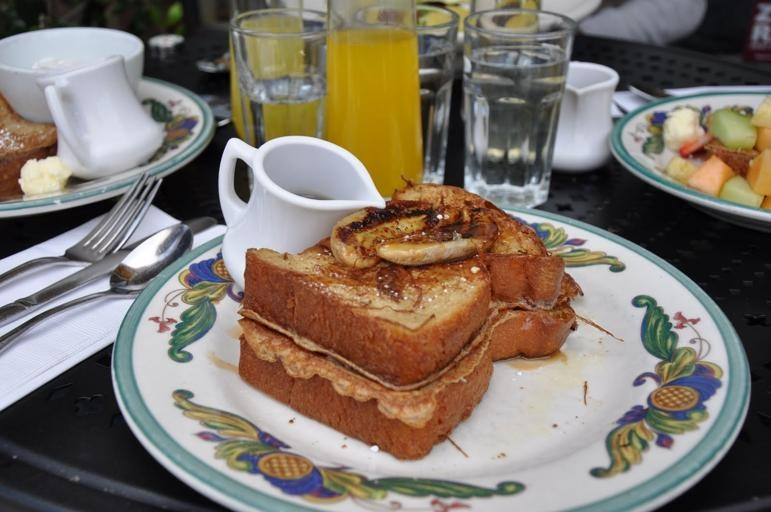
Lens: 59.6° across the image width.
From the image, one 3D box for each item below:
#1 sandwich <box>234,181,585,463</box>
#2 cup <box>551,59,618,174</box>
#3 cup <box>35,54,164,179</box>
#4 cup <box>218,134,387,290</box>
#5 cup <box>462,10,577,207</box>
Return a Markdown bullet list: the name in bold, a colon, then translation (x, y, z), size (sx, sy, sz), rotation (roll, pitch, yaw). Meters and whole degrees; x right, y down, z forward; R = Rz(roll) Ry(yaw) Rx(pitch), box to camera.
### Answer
- **sandwich**: translation (-0.029, 0.035, 1.267), size (0.622, 0.404, 0.450), rotation (-15, 20, -36)
- **cup**: translation (0.513, -0.317, 1.704), size (0.168, 0.227, 0.239), rotation (5, 24, 30)
- **cup**: translation (-0.702, -0.310, 1.597), size (0.216, 0.279, 0.295), rotation (-1, 30, 10)
- **cup**: translation (-0.204, -0.070, 1.310), size (0.311, 0.301, 0.238), rotation (33, 41, 9)
- **cup**: translation (0.275, -0.305, 1.558), size (0.205, 0.488, 0.222), rotation (0, 20, 0)
